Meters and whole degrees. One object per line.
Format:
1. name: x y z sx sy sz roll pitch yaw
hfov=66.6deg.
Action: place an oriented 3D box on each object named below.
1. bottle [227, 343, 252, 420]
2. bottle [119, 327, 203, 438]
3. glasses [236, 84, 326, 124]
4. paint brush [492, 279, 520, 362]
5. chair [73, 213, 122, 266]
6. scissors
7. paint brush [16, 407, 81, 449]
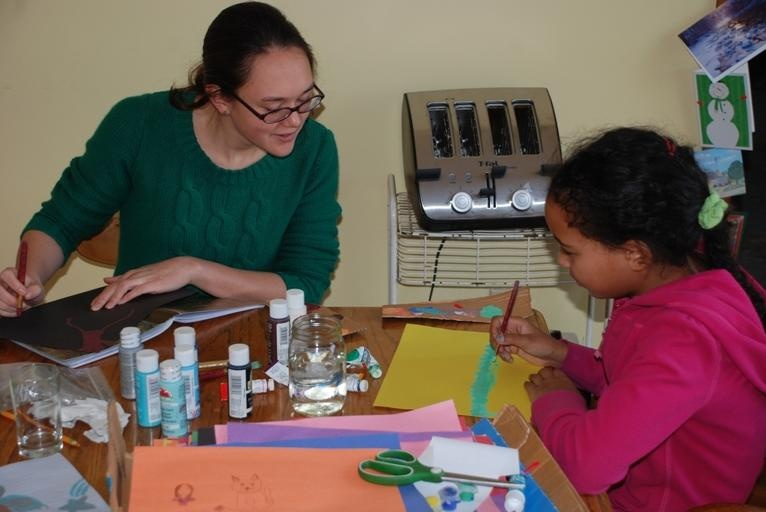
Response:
1. bottle: -0.282 0.241 1.133 0.049 0.100 0.086 -3 2 -13
2. bottle: -0.428 0.238 1.110 0.148 0.155 0.073 -2 2 17
3. glasses: -0.292 -0.391 1.590 0.156 0.044 0.153 -28 54 -30
4. paint brush: 0.300 0.163 1.423 0.021 0.188 0.021 13 12 -8
5. chair: -0.920 -0.041 1.928 0.142 0.147 0.175 2 2 9
6. scissors: 0.100 0.357 0.963 0.245 0.019 0.096 4 23 9
7. paint brush: -0.615 0.315 1.058 0.122 0.013 0.017 30 3 -2
